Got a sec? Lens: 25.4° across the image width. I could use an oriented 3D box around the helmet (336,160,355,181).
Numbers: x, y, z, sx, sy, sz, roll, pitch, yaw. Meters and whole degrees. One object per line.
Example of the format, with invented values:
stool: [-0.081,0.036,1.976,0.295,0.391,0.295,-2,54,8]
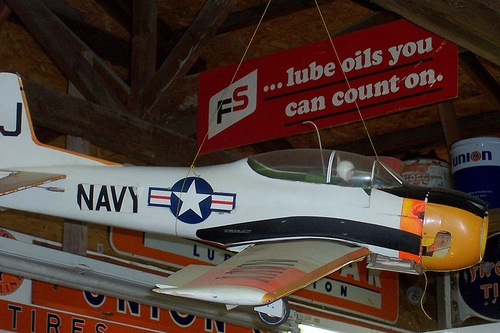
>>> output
helmet: [0.885,0.032,10.076,0.178,0.176,0.136,-14,11,12]
